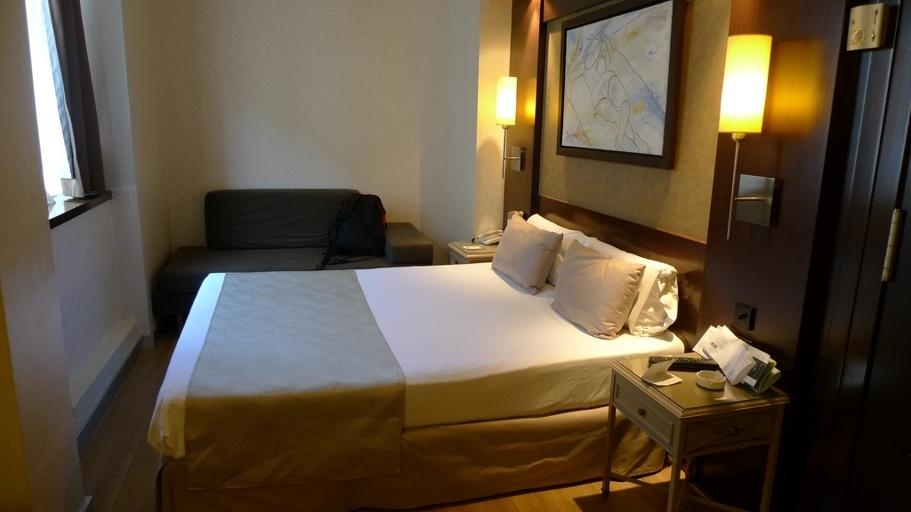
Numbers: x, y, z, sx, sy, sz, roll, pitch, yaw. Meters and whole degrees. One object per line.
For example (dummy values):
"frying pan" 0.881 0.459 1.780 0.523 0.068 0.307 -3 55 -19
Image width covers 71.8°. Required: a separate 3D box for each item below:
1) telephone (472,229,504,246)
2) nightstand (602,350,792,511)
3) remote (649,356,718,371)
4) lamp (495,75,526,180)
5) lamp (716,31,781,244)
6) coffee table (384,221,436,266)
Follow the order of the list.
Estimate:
"telephone" 0.305 -0.177 6.026 0.221 0.083 0.162 -6 34 4
"nightstand" 1.347 0.847 3.958 0.951 0.988 0.968 -2 13 -16
"remote" 1.369 0.640 3.787 0.321 0.040 0.150 -1 10 6
"lamp" 0.504 -1.187 5.900 0.234 0.948 0.408 -1 16 1
"lamp" 1.727 -0.686 3.740 0.300 1.196 0.252 5 18 22
"coffee table" -0.449 -0.097 6.046 0.354 0.217 0.693 -3 19 -12
